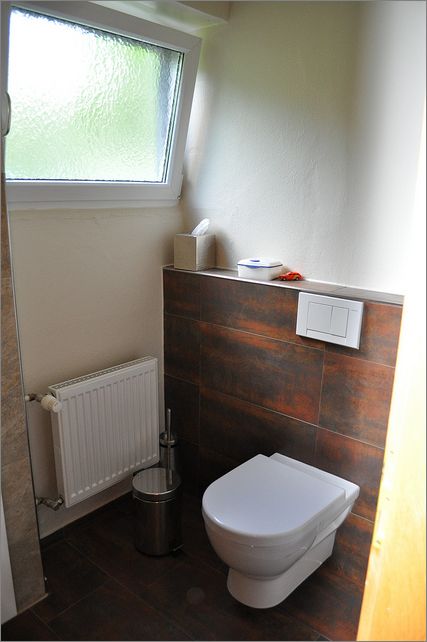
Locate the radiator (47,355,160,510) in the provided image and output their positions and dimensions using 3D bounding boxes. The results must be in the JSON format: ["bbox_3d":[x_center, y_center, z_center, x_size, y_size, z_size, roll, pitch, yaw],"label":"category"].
[{"bbox_3d":[-0.429,0.445,1.845,0.065,0.497,0.506,9,14,37],"label":"radiator"}]

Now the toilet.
[{"bbox_3d":[0.216,0.723,1.534,0.339,0.363,0.481,12,21,43],"label":"toilet"}]
